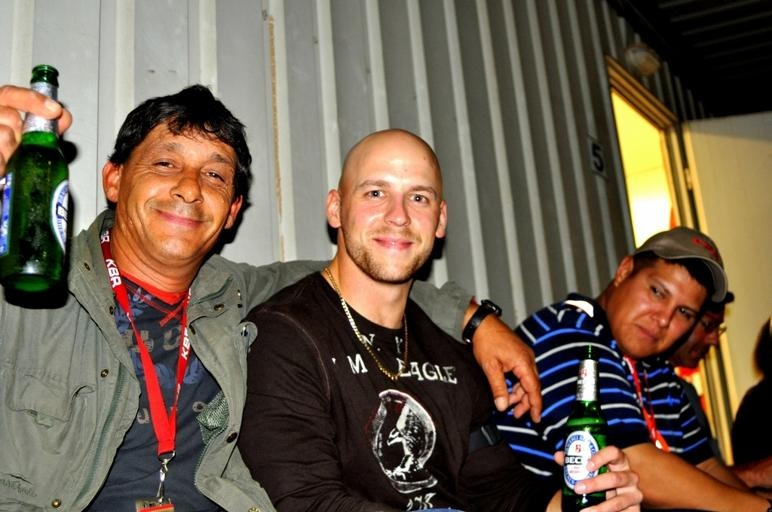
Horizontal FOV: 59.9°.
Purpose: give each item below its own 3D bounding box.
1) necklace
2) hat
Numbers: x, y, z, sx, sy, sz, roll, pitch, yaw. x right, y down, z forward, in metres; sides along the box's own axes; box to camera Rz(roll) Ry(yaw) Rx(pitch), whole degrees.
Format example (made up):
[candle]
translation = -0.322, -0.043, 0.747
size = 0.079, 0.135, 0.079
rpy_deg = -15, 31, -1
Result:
[necklace]
translation = -0.094, 0.287, 3.057
size = 0.096, 0.543, 0.301
rpy_deg = -25, -4, 29
[hat]
translation = 1.651, 0.028, 3.826
size = 0.362, 0.292, 0.501
rpy_deg = 36, 0, 1
